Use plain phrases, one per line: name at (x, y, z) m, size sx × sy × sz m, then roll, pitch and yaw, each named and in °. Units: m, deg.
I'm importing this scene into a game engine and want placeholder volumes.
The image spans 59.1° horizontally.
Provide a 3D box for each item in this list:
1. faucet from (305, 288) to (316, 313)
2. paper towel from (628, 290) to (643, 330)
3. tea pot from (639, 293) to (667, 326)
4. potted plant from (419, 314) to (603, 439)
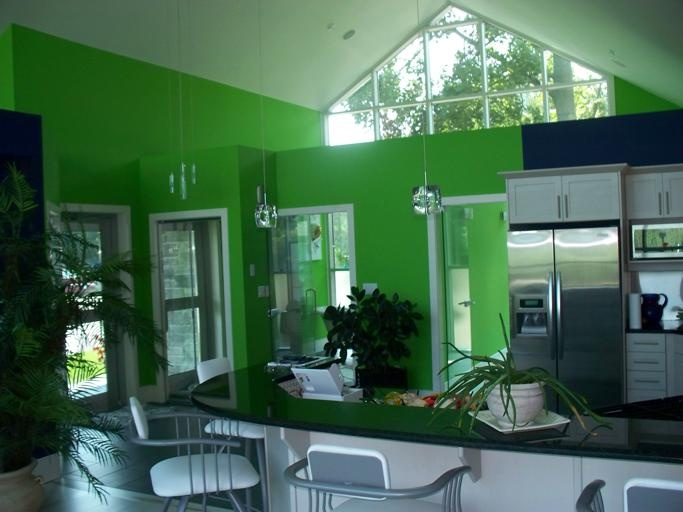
faucet at (-0.391, 0.593, 8.057) m, size 0.094 × 0.323 × 0.180 m, roll 4°, pitch 13°, yaw 37°
paper towel at (3.188, 0.598, 6.549) m, size 0.137 × 0.387 × 0.145 m, roll -1°, pitch 1°, yaw 14°
tea pot at (3.442, 0.579, 6.517) m, size 0.351 × 0.381 × 0.277 m, roll -3°, pitch -6°, yaw 34°
potted plant at (1.111, 0.712, 3.661) m, size 1.032 × 0.753 × 1.167 m, roll 2°, pitch 2°, yaw 32°
